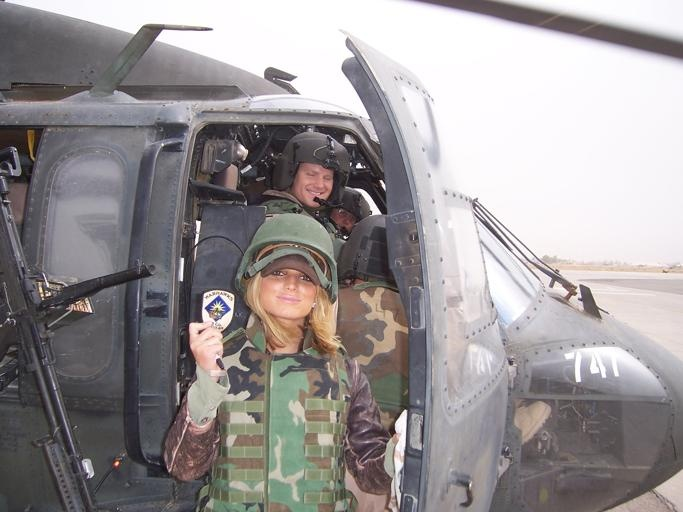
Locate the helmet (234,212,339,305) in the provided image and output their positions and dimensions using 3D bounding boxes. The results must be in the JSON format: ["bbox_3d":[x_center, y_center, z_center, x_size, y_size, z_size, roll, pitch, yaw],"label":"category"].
[{"bbox_3d":[-0.255,0.008,2.698,0.408,0.357,0.454,11,-25,-6],"label":"helmet"}]

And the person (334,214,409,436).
[{"bbox_3d":[0.143,0.366,3.334,0.706,0.987,0.352,2,-12,-5],"label":"person"}]
